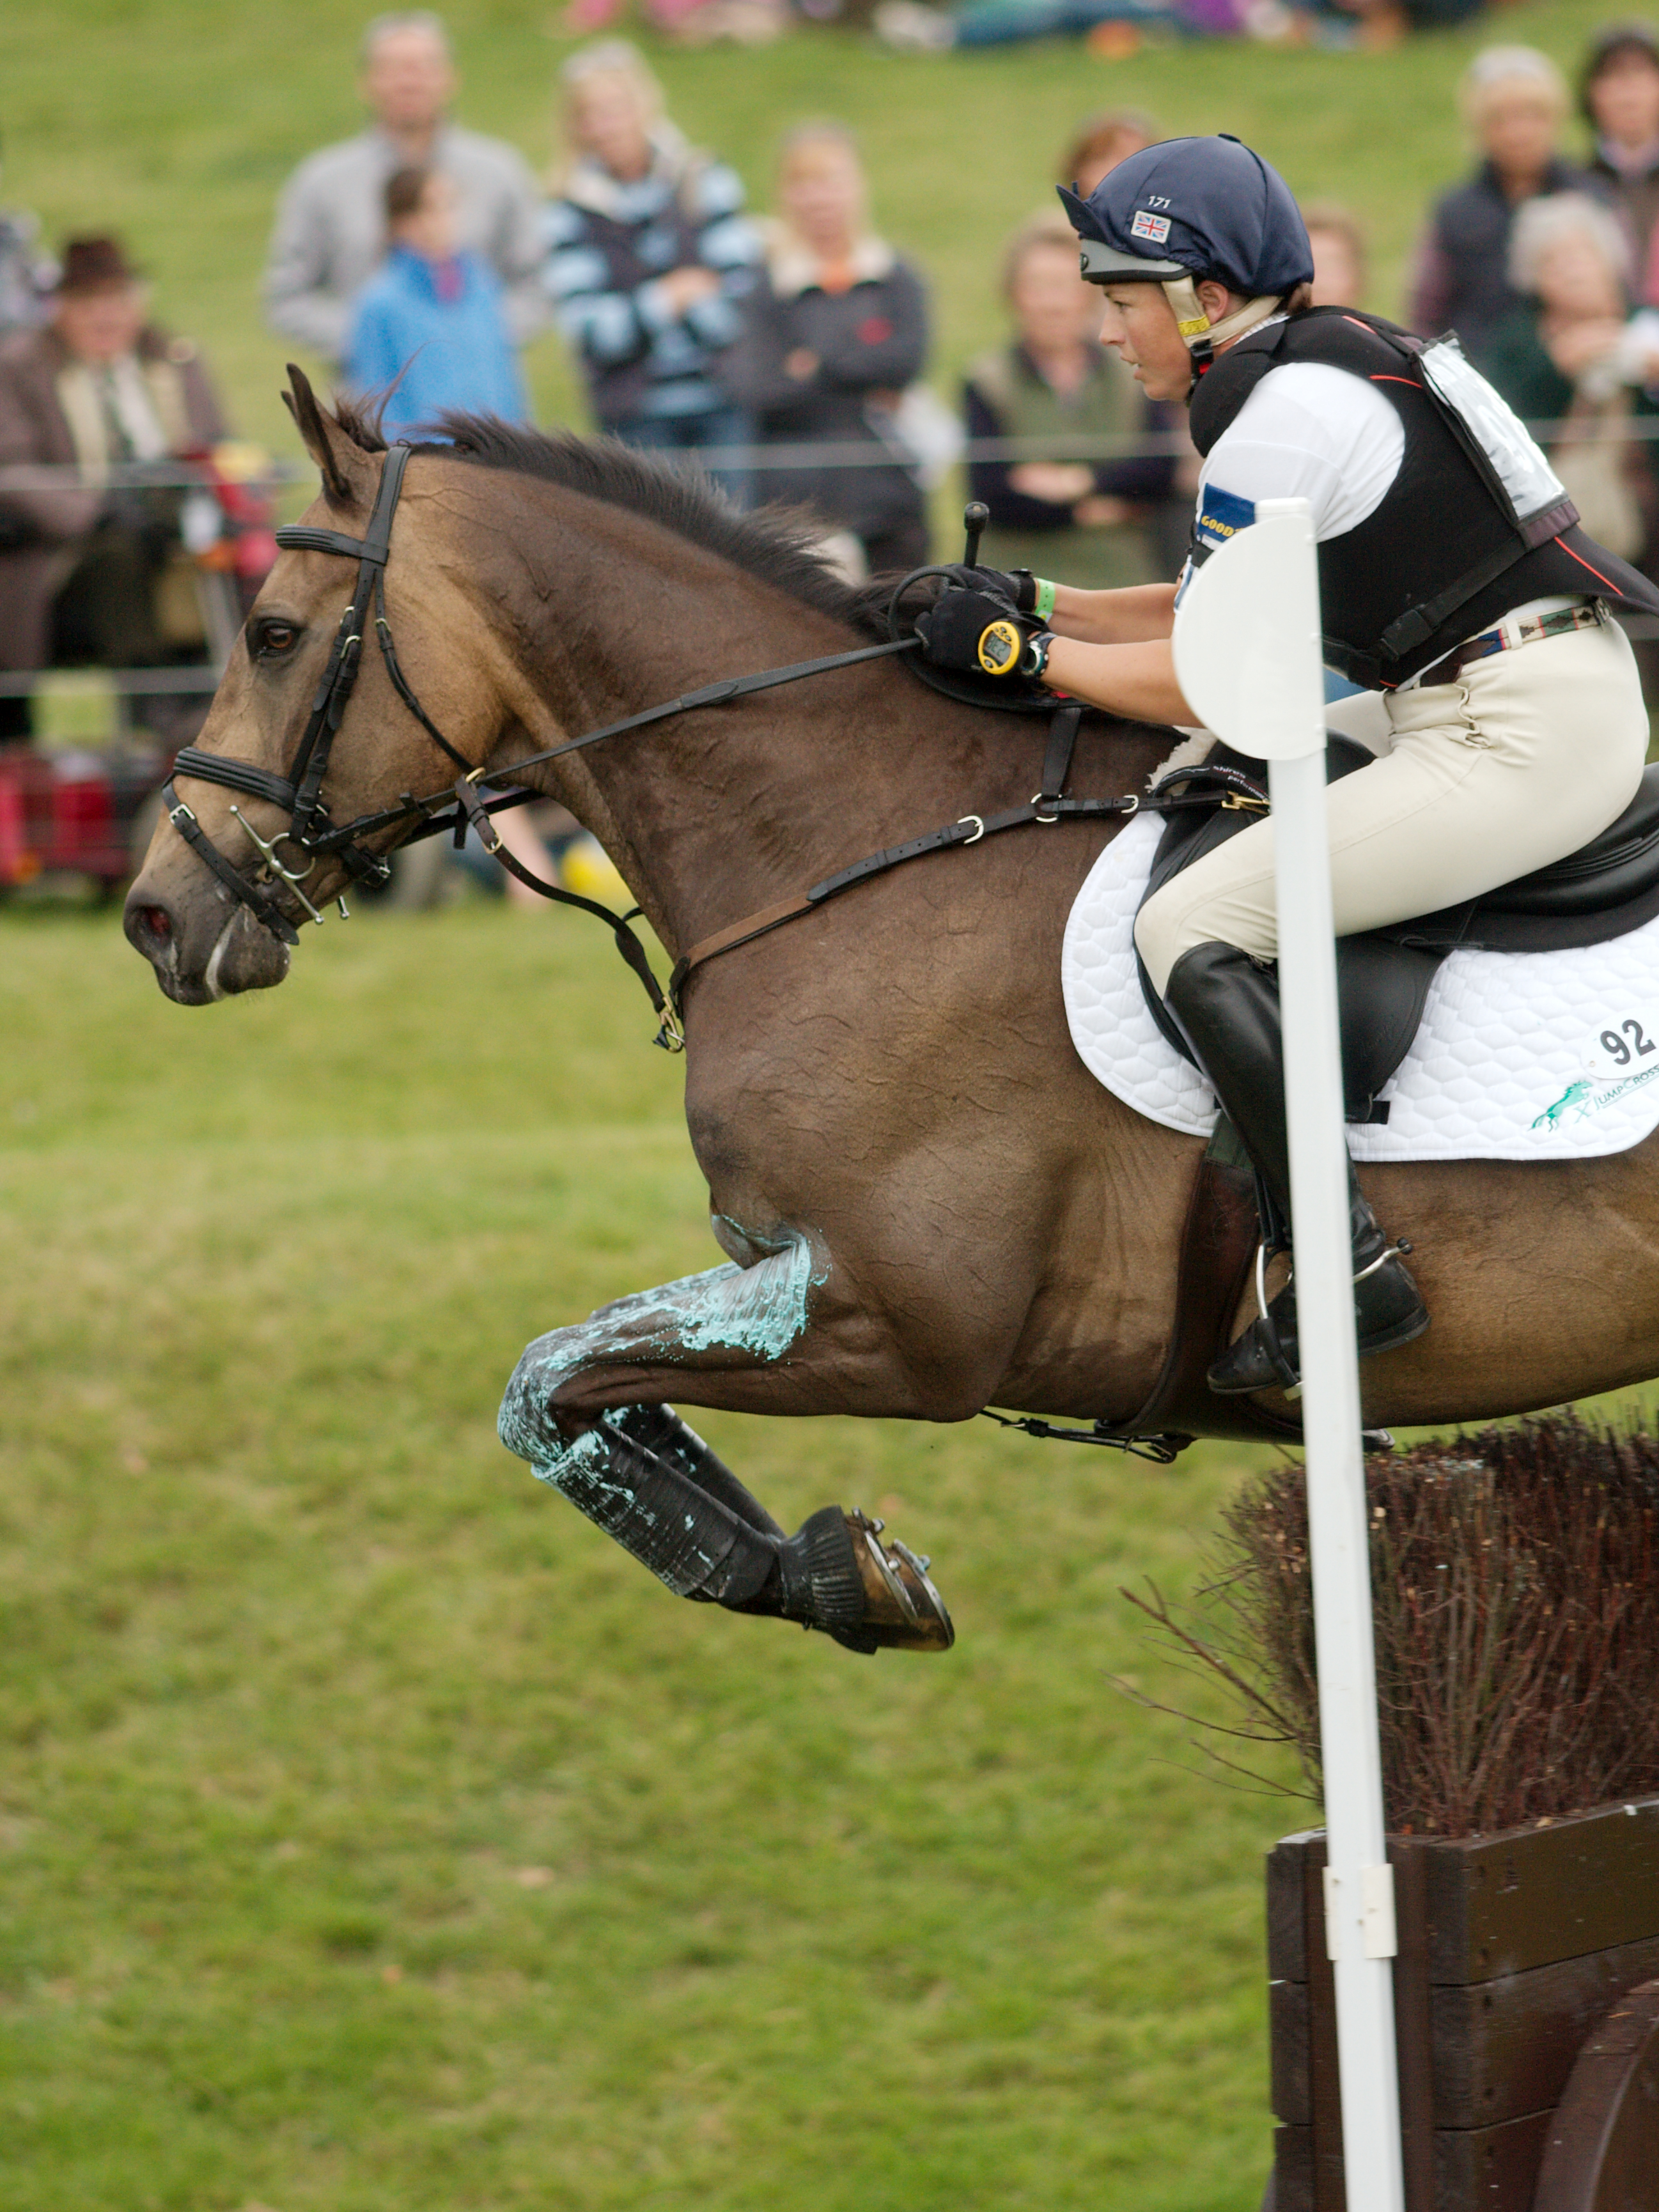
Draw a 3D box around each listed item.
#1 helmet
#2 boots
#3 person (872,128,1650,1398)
[{"bbox_3d":[0.410,-1.060,3.696,0.330,0.137,0.189,4,14,-10],"label":"helmet"},{"bbox_3d":[0.538,0.097,3.670,0.201,0.587,0.317,-17,29,-17],"label":"boots"},{"bbox_3d":[0.642,-0.407,3.752,0.766,1.477,0.974,-15,28,-16],"label":"person"}]
